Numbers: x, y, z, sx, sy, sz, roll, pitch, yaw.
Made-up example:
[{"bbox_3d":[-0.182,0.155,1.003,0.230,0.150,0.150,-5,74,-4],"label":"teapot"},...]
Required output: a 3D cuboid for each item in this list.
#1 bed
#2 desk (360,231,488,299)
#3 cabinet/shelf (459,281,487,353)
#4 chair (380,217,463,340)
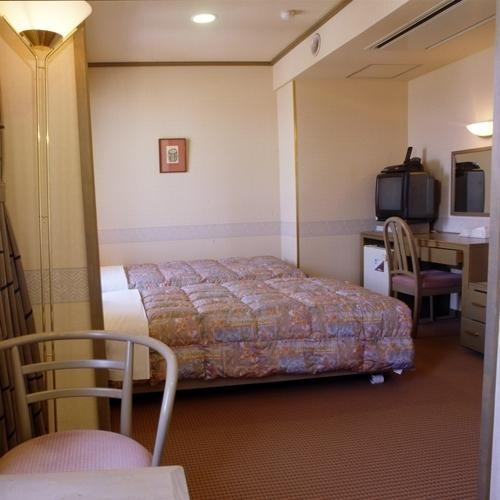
[{"bbox_3d":[0.004,0.430,2.582,1.114,0.264,1.084,0,4,-11],"label":"bed"},{"bbox_3d":[1.399,0.121,3.592,0.283,0.272,0.644,-4,11,-18],"label":"desk"},{"bbox_3d":[1.550,0.481,3.116,0.127,0.524,0.298,-1,6,1],"label":"cabinet/shelf"},{"bbox_3d":[1.411,0.184,3.656,0.601,0.836,0.538,0,4,-21],"label":"chair"}]
